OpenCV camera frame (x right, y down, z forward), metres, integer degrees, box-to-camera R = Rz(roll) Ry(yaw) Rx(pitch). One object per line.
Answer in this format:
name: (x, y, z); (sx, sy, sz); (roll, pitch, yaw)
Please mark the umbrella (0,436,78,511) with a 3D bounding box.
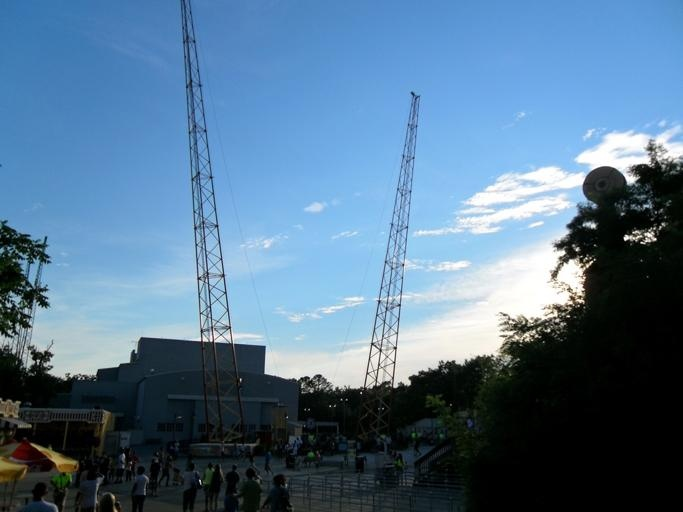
umbrella: (-9.584, 7.013, 17.148); (2.048, 1.534, 2.057); (16, 0, -3)
